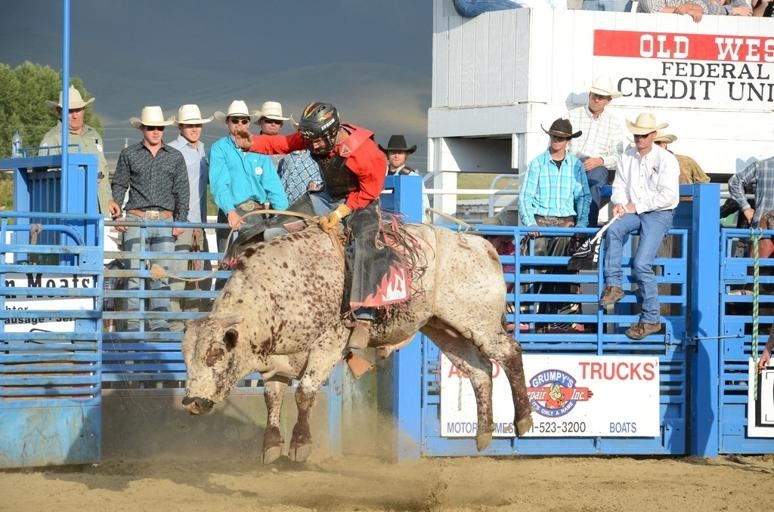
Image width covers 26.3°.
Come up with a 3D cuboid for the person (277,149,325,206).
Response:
[{"bbox_3d":[-1.269,-1.187,25.560,0.803,1.048,0.578,-6,1,2],"label":"person"}]

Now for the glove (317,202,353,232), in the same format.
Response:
[{"bbox_3d":[-0.725,-0.535,23.784,0.296,0.450,0.146,21,-31,30],"label":"glove"}]

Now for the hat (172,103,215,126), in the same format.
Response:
[{"bbox_3d":[-3.099,-2.236,26.515,0.548,0.204,0.489,-3,4,-4],"label":"hat"}]

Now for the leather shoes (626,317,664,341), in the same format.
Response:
[{"bbox_3d":[4.021,1.162,25.712,0.528,0.251,0.253,-8,33,-3],"label":"leather shoes"}]

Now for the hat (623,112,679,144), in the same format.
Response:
[{"bbox_3d":[4.178,-2.078,26.588,0.635,0.337,0.835,11,-4,19],"label":"hat"}]

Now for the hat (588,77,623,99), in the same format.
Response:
[{"bbox_3d":[3.780,-2.886,28.371,0.478,0.205,0.556,17,-4,25],"label":"hat"}]

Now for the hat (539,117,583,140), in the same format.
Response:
[{"bbox_3d":[2.860,-1.981,26.671,0.468,0.194,0.511,11,-5,20],"label":"hat"}]

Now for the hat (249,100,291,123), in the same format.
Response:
[{"bbox_3d":[-1.809,-2.311,26.111,0.468,0.231,0.545,3,-8,-8],"label":"hat"}]

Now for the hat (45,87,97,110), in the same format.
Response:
[{"bbox_3d":[-5.085,-2.506,27.033,0.664,0.304,0.719,-4,5,-6],"label":"hat"}]

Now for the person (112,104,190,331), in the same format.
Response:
[{"bbox_3d":[-3.649,-0.590,25.815,1.189,3.469,1.149,0,0,-8],"label":"person"}]
